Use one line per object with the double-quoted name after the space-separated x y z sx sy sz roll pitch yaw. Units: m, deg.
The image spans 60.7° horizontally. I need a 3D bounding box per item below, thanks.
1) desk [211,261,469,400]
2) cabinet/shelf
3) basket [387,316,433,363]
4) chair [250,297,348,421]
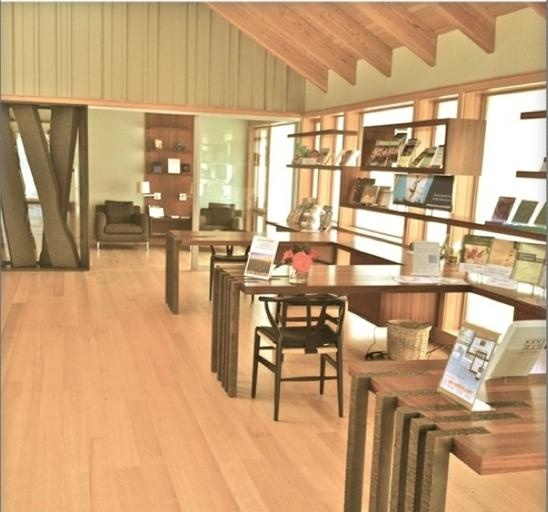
0.429 0.438 3.628 1.733 0.850 1.011 1 7 -8 "desk"
1.458 -1.108 4.839 0.450 0.536 1.506 -2 10 -24 "cabinet/shelf"
1.219 0.761 4.236 0.464 0.397 0.446 9 -15 5 "basket"
0.192 0.798 3.487 0.749 0.983 0.698 -1 12 -13 "chair"
